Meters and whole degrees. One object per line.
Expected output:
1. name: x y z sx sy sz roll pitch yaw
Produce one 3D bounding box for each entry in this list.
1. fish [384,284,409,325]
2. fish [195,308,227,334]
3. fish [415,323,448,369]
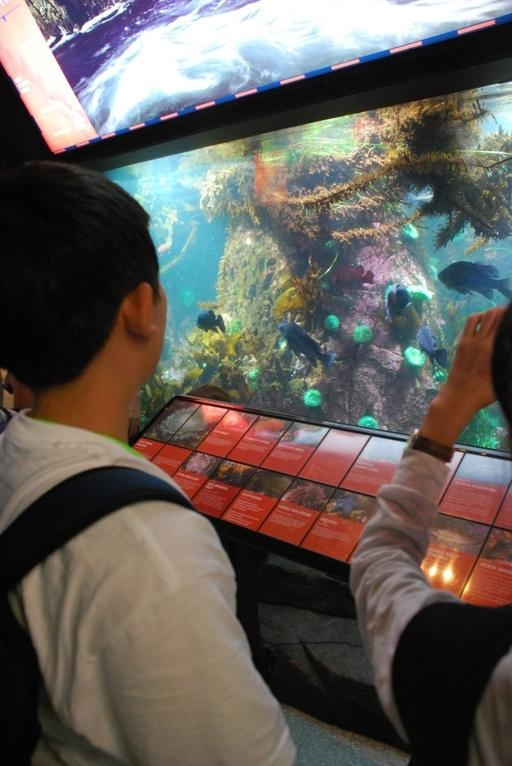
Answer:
1. fish: 0.904 -0.500 3.317 0.106 0.132 0.329 24 5 5
2. fish: -0.395 -0.559 4.708 0.198 0.384 0.112 -30 61 7
3. fish: 1.099 -0.221 3.263 0.084 0.271 0.127 -23 11 12
